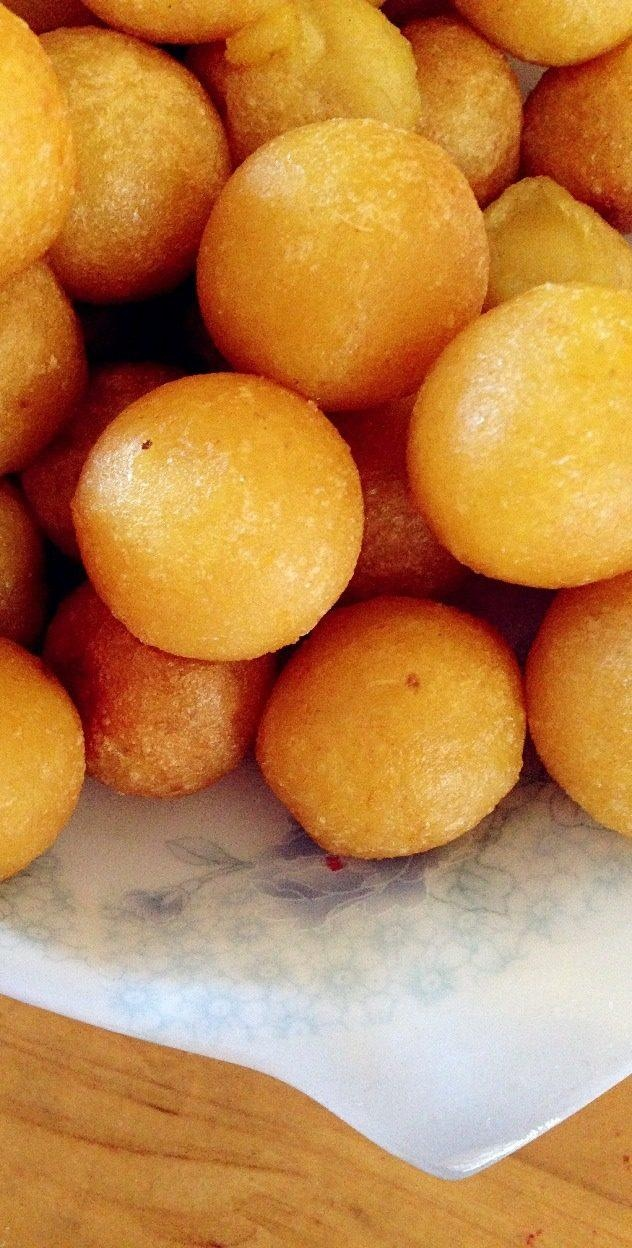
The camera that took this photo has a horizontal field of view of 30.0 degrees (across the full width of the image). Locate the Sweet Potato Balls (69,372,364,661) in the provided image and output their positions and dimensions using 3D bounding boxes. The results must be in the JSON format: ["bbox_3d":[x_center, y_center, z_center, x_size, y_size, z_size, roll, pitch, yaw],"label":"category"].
[{"bbox_3d":[-0.029,-0.024,0.369,0.069,0.085,0.042,-6,-4,-3],"label":"Sweet Potato Balls"}]

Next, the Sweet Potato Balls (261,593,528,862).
[{"bbox_3d":[0.027,0.048,0.405,0.070,0.044,0.086,-5,69,6],"label":"Sweet Potato Balls"}]
